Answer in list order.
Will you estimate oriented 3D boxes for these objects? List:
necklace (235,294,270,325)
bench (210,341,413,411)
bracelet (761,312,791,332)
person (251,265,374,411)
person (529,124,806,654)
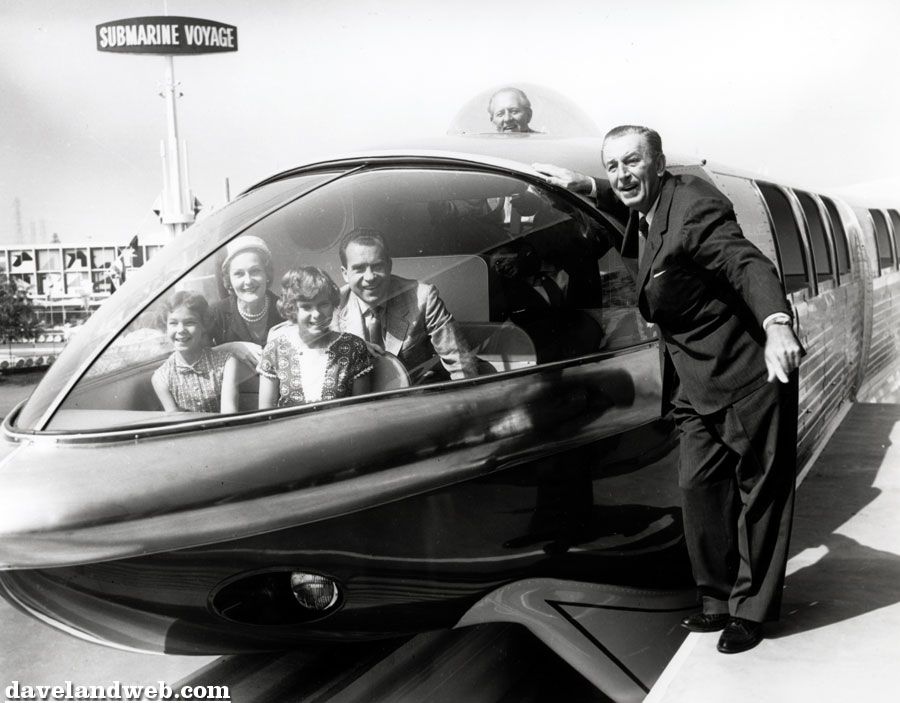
[{"bbox_3d":[-0.873,-0.186,3.545,0.102,0.144,0.056,-1,-5,6],"label":"necklace"},{"bbox_3d":[-0.624,0.073,3.428,0.780,0.254,0.228,-6,9,-1],"label":"bench"},{"bbox_3d":[1.212,-0.109,2.964,0.101,0.066,0.053,-3,9,15],"label":"bracelet"},{"bbox_3d":[-0.590,-0.034,3.424,0.404,0.271,0.793,-7,39,-6],"label":"person"},{"bbox_3d":[1.079,0.161,3.366,0.832,2.235,0.590,1,10,35],"label":"person"}]
